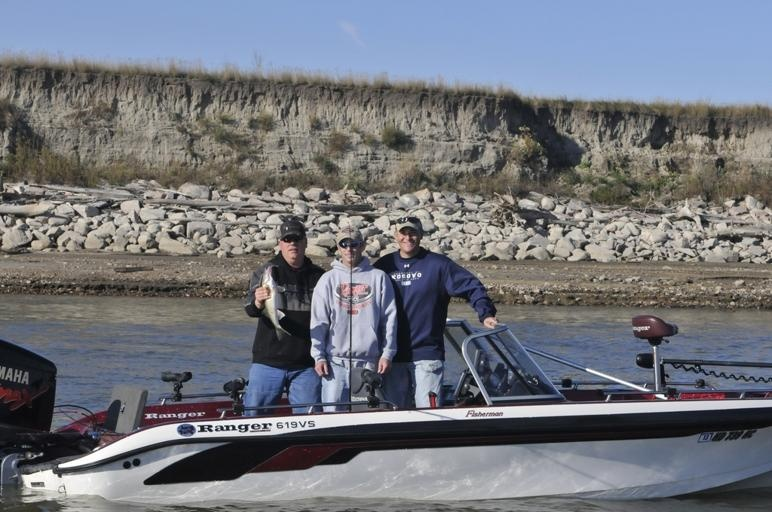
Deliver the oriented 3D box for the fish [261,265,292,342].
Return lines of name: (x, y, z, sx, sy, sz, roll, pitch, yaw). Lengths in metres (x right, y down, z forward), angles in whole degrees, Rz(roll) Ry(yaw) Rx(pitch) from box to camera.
fish: (-3.014, 1.394, 49.830, 1.101, 2.346, 0.531, -5, 15, 5)
